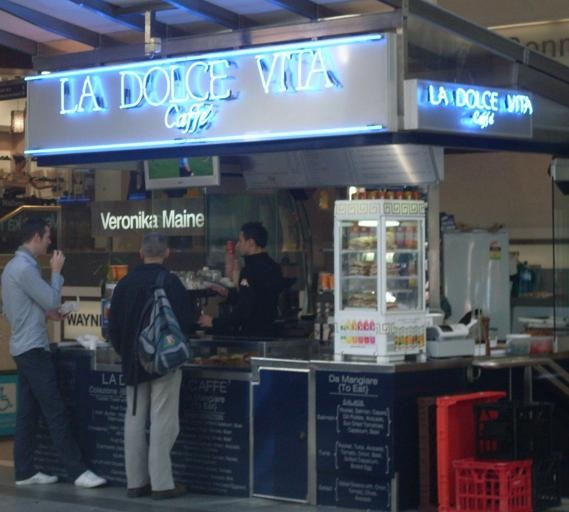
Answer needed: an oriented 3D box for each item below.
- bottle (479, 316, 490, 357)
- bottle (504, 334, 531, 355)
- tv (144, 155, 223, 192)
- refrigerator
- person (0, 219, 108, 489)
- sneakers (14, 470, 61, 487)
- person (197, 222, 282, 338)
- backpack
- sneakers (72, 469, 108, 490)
[{"bbox_3d":[1.466,0.573,6.056,0.075,0.295,0.235,0,1,14],"label":"bottle"},{"bbox_3d":[1.778,0.675,6.310,0.189,0.130,0.461,0,1,26],"label":"bottle"},{"bbox_3d":[-0.924,-0.738,7.316,0.825,0.243,0.196,0,1,43],"label":"tv"},{"bbox_3d":[2.114,0.308,9.136,0.714,1.131,0.364,0,0,9],"label":"refrigerator"},{"bbox_3d":[-1.824,0.737,6.352,0.694,1.431,0.357,0,0,10],"label":"person"},{"bbox_3d":[-1.908,1.729,6.405,0.296,0.120,0.112,0,-5,-19],"label":"sneakers"},{"bbox_3d":[-0.338,0.186,7.077,0.598,0.965,0.821,0,1,10],"label":"person"},{"bbox_3d":[-0.853,0.456,5.751,0.286,0.680,0.302,-1,1,-44],"label":"backpack"},{"bbox_3d":[-1.459,1.682,6.248,0.201,0.102,0.121,-2,-4,24],"label":"sneakers"}]
